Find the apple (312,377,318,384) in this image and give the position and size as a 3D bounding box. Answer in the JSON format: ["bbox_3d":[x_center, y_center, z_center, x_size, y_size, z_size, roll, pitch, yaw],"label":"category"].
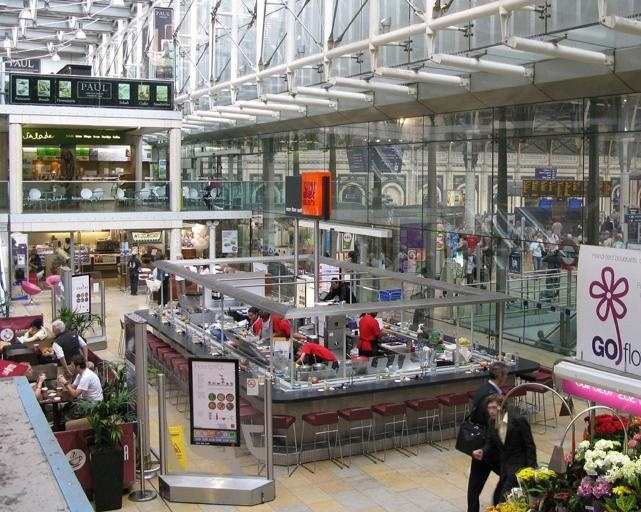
[{"bbox_3d":[-0.080,1.949,10.036,0.111,0.084,0.068,0,14,-14],"label":"apple"}]

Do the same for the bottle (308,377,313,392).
[{"bbox_3d":[-0.145,2.004,10.001,0.111,0.229,0.175,2,-4,-8],"label":"bottle"}]

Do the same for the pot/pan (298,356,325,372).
[{"bbox_3d":[-0.130,1.718,10.166,0.290,0.122,0.213,2,2,8],"label":"pot/pan"}]

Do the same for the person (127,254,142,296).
[{"bbox_3d":[-6.980,0.774,24.042,0.412,1.484,0.952,-1,15,-17],"label":"person"}]

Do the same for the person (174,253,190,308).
[{"bbox_3d":[-3.249,0.714,15.064,0.267,1.168,1.254,0,15,-12],"label":"person"}]

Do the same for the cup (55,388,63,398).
[{"bbox_3d":[-3.997,2.097,9.808,0.097,0.099,0.085,8,-3,-35],"label":"cup"}]
